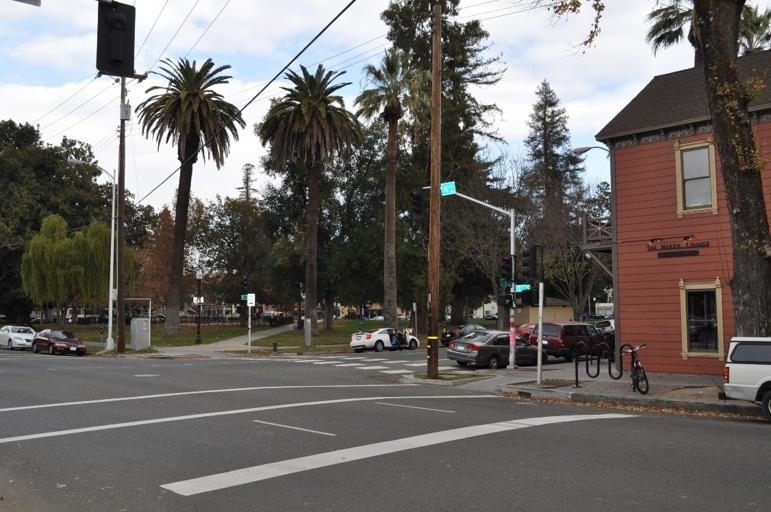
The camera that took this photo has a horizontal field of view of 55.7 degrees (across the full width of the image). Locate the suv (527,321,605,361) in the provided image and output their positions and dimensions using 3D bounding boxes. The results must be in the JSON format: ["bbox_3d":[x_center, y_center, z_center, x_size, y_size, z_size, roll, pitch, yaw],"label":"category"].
[{"bbox_3d":[9.366,4.103,36.898,3.532,1.722,2.070,-3,1,-34],"label":"suv"}]

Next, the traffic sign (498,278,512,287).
[{"bbox_3d":[5.382,1.156,32.643,0.465,0.272,0.700,2,-6,0],"label":"traffic sign"}]

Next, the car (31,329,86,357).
[{"bbox_3d":[-20.178,5.360,44.874,1.606,1.185,3.594,6,-11,-37],"label":"car"}]

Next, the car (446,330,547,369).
[{"bbox_3d":[5.467,4.510,35.506,4.029,1.417,1.846,0,-2,-35],"label":"car"}]

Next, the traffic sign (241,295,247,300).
[{"bbox_3d":[-8.852,2.552,45.704,0.231,0.322,0.430,5,-9,-37],"label":"traffic sign"}]

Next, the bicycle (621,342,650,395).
[{"bbox_3d":[8.762,3.976,26.083,0.823,1.503,2.371,0,2,0],"label":"bicycle"}]

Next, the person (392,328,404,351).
[{"bbox_3d":[0.853,5.489,47.476,0.806,0.654,1.162,2,-23,3],"label":"person"}]

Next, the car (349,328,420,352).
[{"bbox_3d":[-0.175,5.341,46.681,3.097,1.015,1.864,-1,-2,-35],"label":"car"}]
